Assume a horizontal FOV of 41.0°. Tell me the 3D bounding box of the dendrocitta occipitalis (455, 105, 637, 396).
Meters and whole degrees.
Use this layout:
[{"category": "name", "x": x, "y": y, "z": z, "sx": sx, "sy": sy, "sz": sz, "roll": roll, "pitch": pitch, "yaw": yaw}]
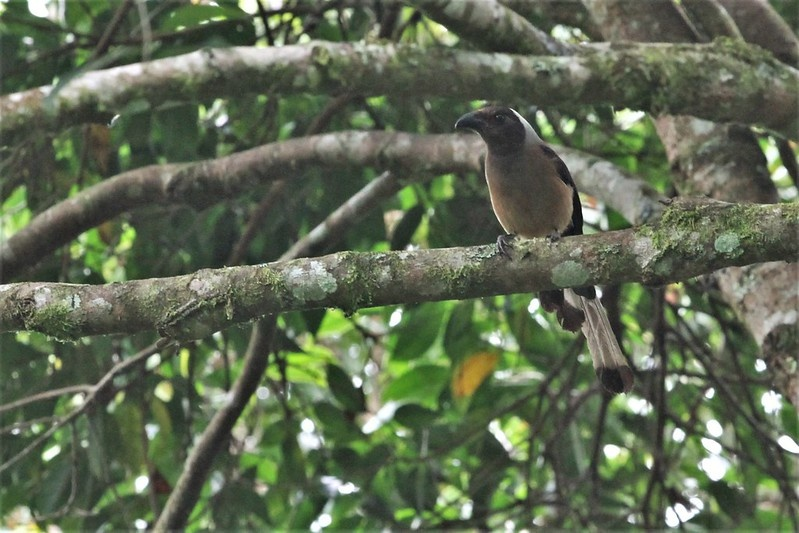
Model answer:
[{"category": "dendrocitta occipitalis", "x": 0.986, "y": -0.177, "z": 7.273, "sx": 0.538, "sy": 1.970, "sz": 0.831, "roll": -23, "pitch": 19, "yaw": 27}]
